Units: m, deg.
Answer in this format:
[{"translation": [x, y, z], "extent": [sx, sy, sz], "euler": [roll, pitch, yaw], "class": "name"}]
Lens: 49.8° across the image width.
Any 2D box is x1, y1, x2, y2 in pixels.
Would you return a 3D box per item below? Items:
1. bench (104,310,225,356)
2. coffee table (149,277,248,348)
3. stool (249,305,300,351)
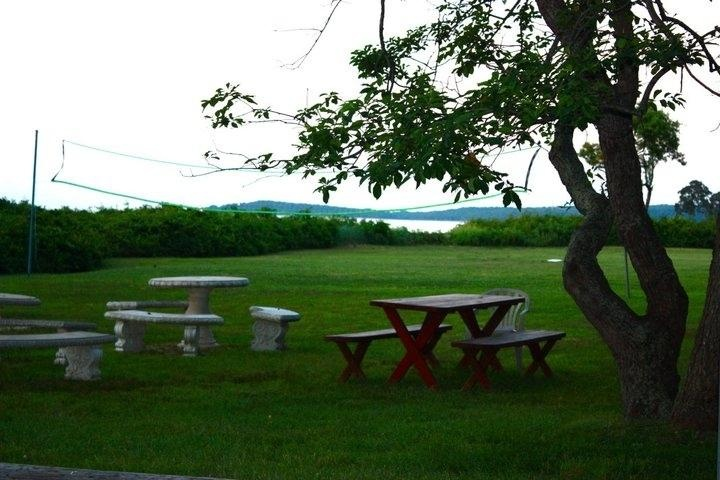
[{"translation": [-3.344, 1.593, 13.409], "extent": [2.141, 0.781, 1.071], "euler": [-4, -5, 30], "class": "bench"}, {"translation": [-3.081, 1.202, 14.322], "extent": [1.524, 0.890, 1.460], "euler": [4, -3, -40], "class": "coffee table"}, {"translation": [-1.546, 1.562, 13.640], "extent": [0.923, 0.782, 0.413], "euler": [-3, -4, 25], "class": "stool"}]
